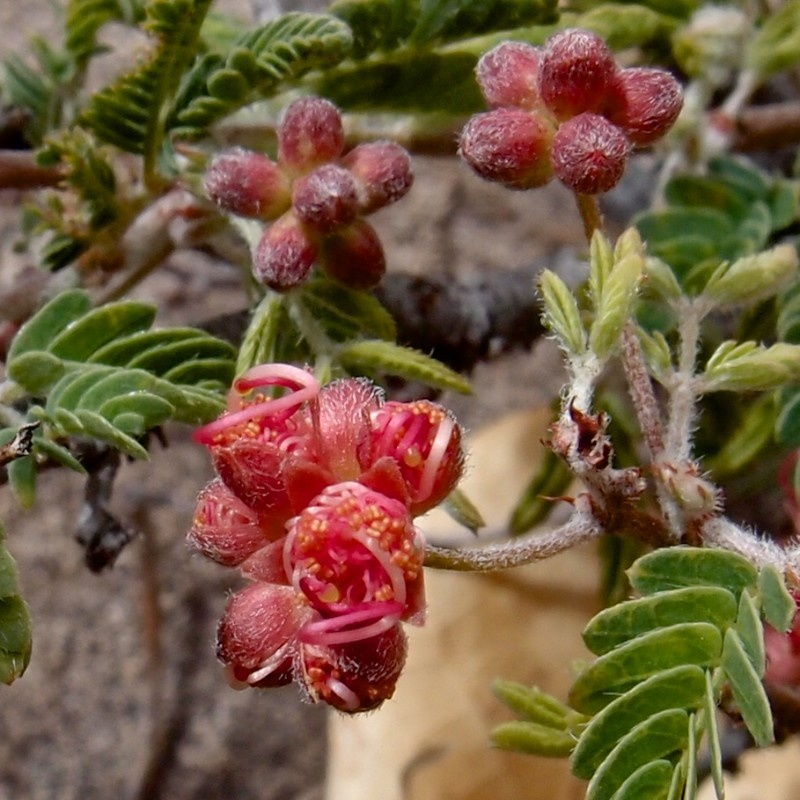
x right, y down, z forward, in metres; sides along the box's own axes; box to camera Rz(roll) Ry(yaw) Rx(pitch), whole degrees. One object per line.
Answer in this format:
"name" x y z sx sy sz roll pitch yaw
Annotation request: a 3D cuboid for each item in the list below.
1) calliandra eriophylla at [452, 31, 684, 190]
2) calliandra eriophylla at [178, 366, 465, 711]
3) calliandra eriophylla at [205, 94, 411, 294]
"calliandra eriophylla" 0.152 -0.304 1.289 0.207 0.179 0.090 7 43 -16
"calliandra eriophylla" -0.079 0.120 1.248 0.250 0.210 0.340 12 69 7
"calliandra eriophylla" -0.083 -0.208 1.343 0.197 0.153 0.175 -25 70 -7
